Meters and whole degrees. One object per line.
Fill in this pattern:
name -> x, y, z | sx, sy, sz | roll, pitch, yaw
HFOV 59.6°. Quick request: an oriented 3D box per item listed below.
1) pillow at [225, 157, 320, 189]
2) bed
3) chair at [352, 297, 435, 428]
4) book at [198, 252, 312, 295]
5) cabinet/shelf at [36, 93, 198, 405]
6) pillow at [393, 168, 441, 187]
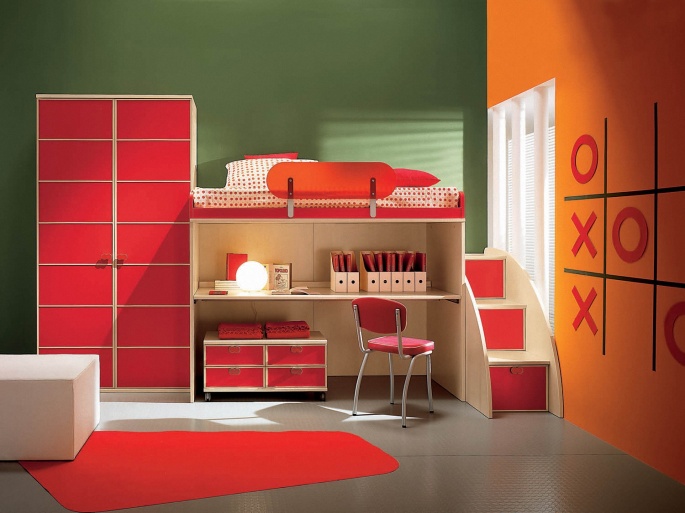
pillow -> -0.829, -0.747, 5.435 | 0.477, 0.278, 0.563 | 0, 9, -7
bed -> -0.132, -0.466, 5.251 | 2.390, 0.284, 0.142 | 0, 8, -2
chair -> 0.423, 0.773, 5.374 | 0.794, 1.082, 1.608 | 2, 8, 9
book -> -0.787, 0.172, 5.650 | 0.850, 0.331, 0.651 | 0, 8, -2
cabinet/shelf -> -2.039, -0.109, 5.370 | 1.356, 2.648, 0.471 | 1, 8, 3
pillow -> 0.627, -0.700, 5.362 | 0.457, 0.158, 0.160 | -4, 9, -28
